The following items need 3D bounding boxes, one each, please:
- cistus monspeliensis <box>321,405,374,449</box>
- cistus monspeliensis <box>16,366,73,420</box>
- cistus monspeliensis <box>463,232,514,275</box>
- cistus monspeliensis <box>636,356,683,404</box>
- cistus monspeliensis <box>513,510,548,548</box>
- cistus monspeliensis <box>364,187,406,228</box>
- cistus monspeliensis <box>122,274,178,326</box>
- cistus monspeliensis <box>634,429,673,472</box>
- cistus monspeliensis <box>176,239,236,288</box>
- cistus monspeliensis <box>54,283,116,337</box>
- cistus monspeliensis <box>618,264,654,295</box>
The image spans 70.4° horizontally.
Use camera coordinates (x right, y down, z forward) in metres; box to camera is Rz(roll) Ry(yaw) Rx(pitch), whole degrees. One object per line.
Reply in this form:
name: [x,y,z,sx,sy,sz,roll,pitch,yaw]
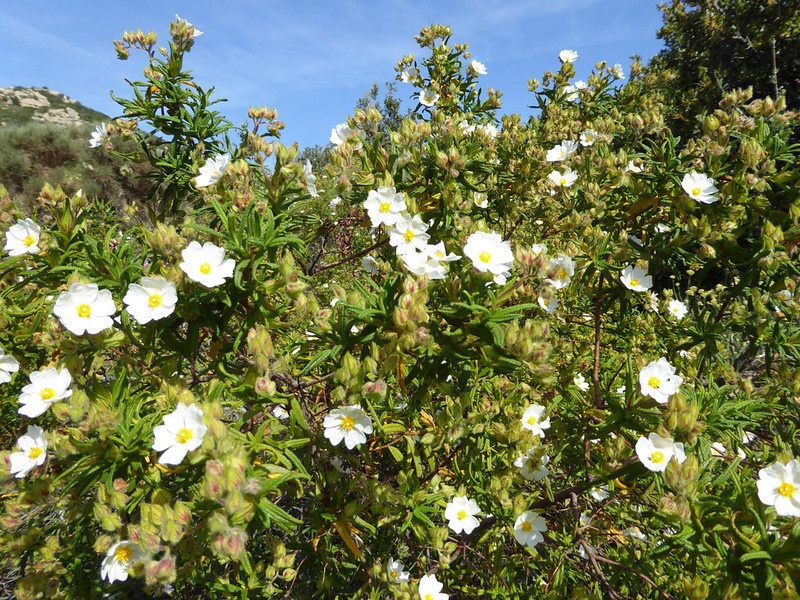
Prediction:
cistus monspeliensis: [-0.307,0.797,3.349,0.268,0.406,0.208,-6,37,-8]
cistus monspeliensis: [-1.913,0.496,3.056,0.269,0.193,0.224,-19,42,-23]
cistus monspeliensis: [0.498,-0.255,3.213,0.258,0.180,0.250,23,44,26]
cistus monspeliensis: [1.472,0.462,3.224,0.236,0.092,0.257,-12,77,3]
cistus monspeliensis: [0.789,1.411,3.568,0.110,0.216,0.240,-4,62,59]
cistus monspeliensis: [-0.070,-0.559,3.399,0.263,0.169,0.217,24,44,26]
cistus monspeliensis: [-1.348,-0.014,3.058,0.260,0.195,0.207,-21,43,-24]
cistus monspeliensis: [1.374,0.829,3.077,0.190,0.169,0.181,18,42,21]
cistus monspeliensis: [-1.044,-0.226,3.162,0.249,0.122,0.268,17,-4,-43]
cistus monspeliensis: [-1.688,0.026,2.962,0.272,0.113,0.311,-2,23,2]
cistus monspeliensis: [1.606,-0.131,3.873,0.174,0.083,0.182,-42,91,-12]
